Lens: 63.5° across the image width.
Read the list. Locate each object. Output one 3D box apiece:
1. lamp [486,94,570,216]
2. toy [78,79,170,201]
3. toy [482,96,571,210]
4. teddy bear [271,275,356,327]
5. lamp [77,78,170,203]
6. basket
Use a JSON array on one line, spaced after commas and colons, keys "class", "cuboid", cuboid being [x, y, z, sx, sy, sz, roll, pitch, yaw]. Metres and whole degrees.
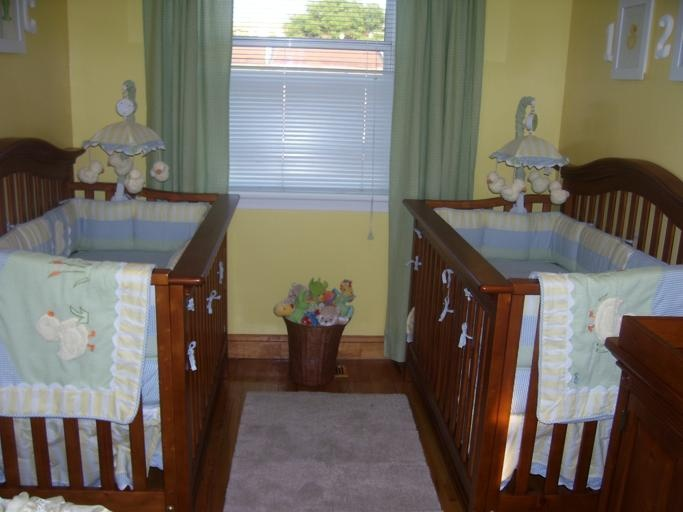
[{"class": "lamp", "cuboid": [1.021, -0.521, 3.014, 0.410, 0.664, 0.427, 0, 5, -1]}, {"class": "toy", "cuboid": [-1.198, -0.664, 3.087, 0.469, 0.759, 0.482, 5, 18, 4]}, {"class": "toy", "cuboid": [1.057, -0.606, 3.143, 0.441, 0.722, 0.453, -6, 21, -11]}, {"class": "teddy bear", "cuboid": [-0.137, 0.267, 3.058, 0.325, 0.171, 0.272, -5, 17, -22]}, {"class": "lamp", "cuboid": [-1.127, -0.605, 2.960, 0.457, 0.634, 0.472, 19, 19, 39]}, {"class": "basket", "cuboid": [-0.139, 0.525, 3.184, 0.339, 0.339, 0.342, 5, 7, 21]}]
